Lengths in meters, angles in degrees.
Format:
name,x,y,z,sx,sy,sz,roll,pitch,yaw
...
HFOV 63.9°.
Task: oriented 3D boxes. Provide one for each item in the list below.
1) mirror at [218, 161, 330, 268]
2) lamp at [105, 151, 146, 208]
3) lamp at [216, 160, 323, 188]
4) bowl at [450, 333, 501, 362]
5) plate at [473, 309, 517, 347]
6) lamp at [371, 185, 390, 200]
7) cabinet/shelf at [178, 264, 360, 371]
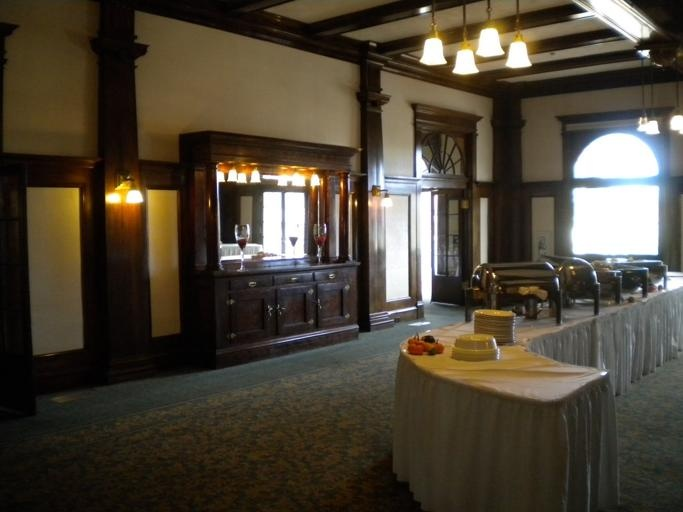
name,x,y,z,sx,sy,sz,roll,pitch,yaw
mirror,-0.881,-0.497,7.727,1.884,1.469,0.175,0,-8,36
lamp,-2.362,-0.770,6.146,0.418,0.423,0.480,5,8,43
lamp,-0.951,-1.093,7.559,1.681,0.305,0.082,-6,8,-42
bowl,0.916,0.635,3.742,0.202,0.092,0.204,0,-1,0
plate,1.177,0.549,4.189,0.261,0.201,0.267,1,-1,-15
lamp,0.615,-1.038,8.827,0.286,0.209,0.156,-1,0,31
cabinet/shelf,-0.780,0.735,7.632,2.296,1.176,0.684,-4,5,-39
